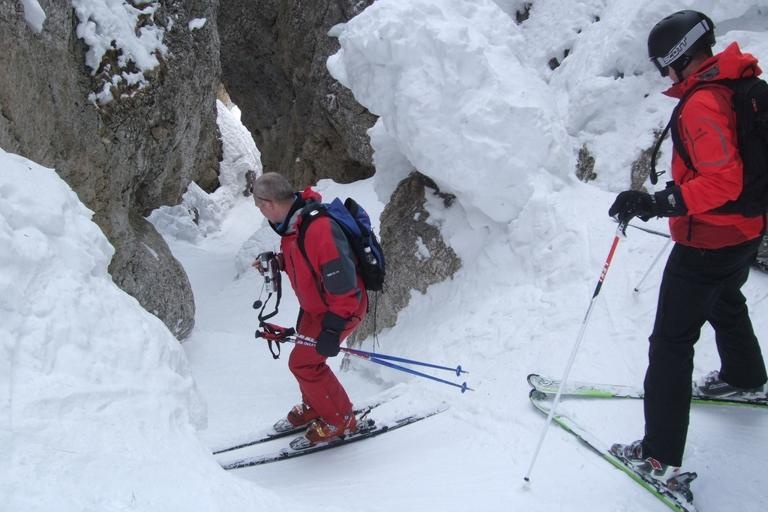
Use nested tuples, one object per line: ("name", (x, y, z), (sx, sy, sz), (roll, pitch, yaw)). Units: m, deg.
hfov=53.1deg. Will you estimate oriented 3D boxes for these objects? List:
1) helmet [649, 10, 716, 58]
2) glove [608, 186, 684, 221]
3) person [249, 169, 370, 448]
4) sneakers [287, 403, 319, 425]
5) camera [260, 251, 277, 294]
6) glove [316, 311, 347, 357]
("helmet", (2.374, -1.781, 6.168), (0.437, 0.374, 0.357), (14, 34, 44))
("glove", (2.159, -0.417, 6.283), (0.391, 0.192, 0.277), (-22, 12, 36))
("person", (-0.643, 0.489, 7.088), (0.924, 2.539, 0.645), (-3, 3, 11))
("sneakers", (-0.782, 1.529, 7.470), (0.276, 0.174, 0.125), (-5, -21, -4))
("camera", (-1.061, 0.139, 7.097), (0.081, 0.315, 0.294), (-7, -12, 5))
("glove", (-0.463, 0.682, 6.833), (0.227, 0.407, 0.124), (5, -3, 5))
